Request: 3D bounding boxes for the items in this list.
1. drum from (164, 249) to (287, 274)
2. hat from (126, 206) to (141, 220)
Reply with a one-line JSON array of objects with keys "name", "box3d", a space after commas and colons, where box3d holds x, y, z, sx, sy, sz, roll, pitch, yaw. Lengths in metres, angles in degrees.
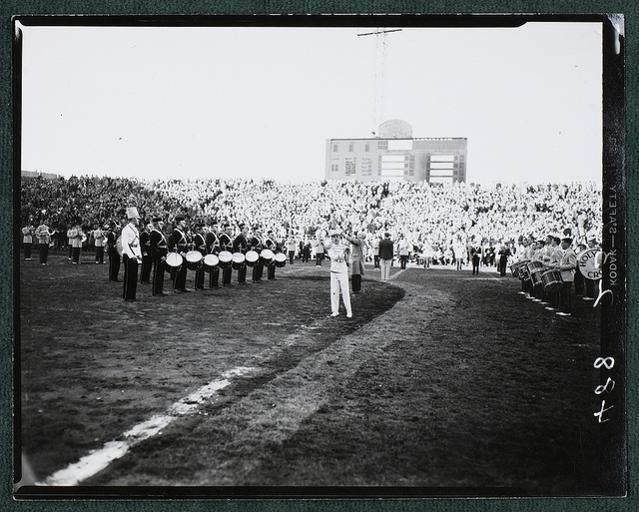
[{"name": "drum", "box3d": [-1.171, 0.045, 8.352, 0.914, 0.282, 0.111, -6, 6, -36]}, {"name": "hat", "box3d": [-1.872, -0.429, 6.940, 0.116, 0.118, 0.112, -8, 6, -45]}]
